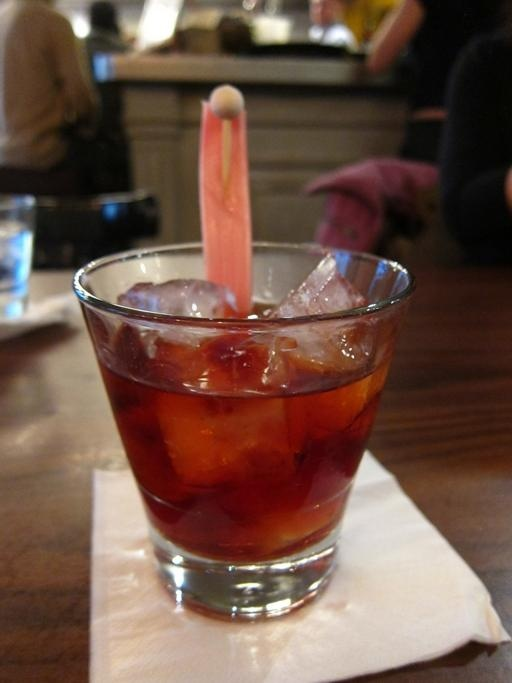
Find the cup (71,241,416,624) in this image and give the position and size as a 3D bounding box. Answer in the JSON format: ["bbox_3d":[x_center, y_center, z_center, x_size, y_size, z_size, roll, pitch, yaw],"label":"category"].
[{"bbox_3d":[-0.008,0.058,0.620,0.338,0.294,0.305,0,17,1],"label":"cup"}]
